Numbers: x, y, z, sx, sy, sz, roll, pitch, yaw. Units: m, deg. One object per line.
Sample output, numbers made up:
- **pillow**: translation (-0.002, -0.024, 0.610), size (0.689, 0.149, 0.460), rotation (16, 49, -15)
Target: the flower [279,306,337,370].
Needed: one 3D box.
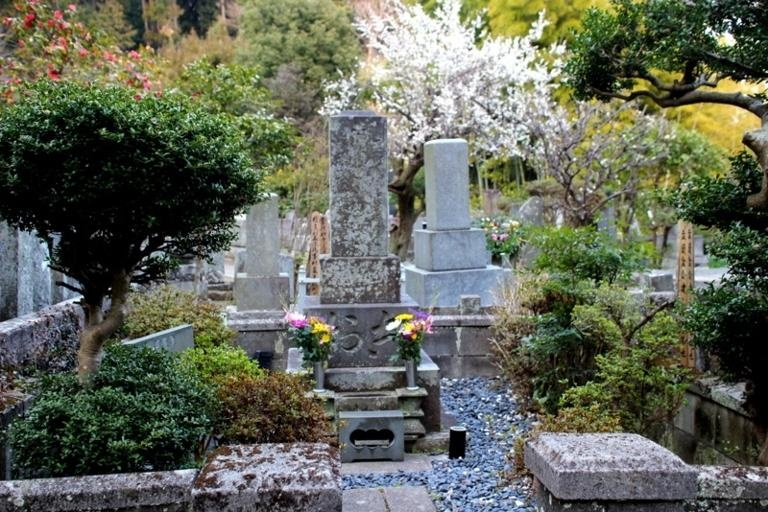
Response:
- **flower**: translation (-0.933, 1.053, 10.929), size (0.641, 0.676, 0.596), rotation (9, -4, 13)

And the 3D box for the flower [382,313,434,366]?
- **flower**: translation (0.306, 0.981, 10.978), size (0.503, 0.533, 0.528), rotation (1, 5, -14)
